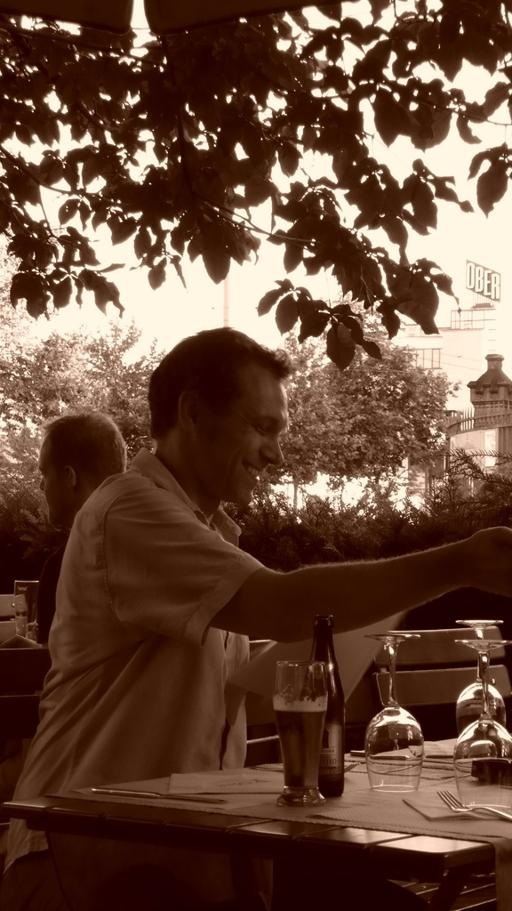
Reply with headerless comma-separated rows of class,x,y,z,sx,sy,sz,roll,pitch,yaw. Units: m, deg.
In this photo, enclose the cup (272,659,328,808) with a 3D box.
cup,0.058,0.379,1.221,0.086,0.191,0.074,1,0,-44
